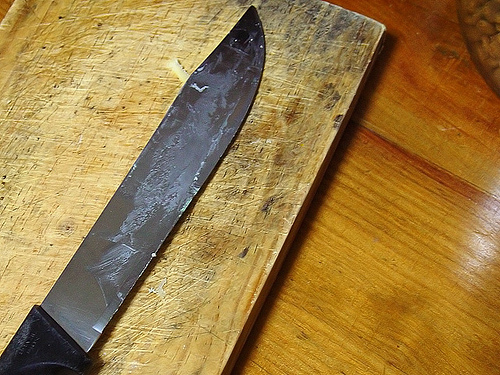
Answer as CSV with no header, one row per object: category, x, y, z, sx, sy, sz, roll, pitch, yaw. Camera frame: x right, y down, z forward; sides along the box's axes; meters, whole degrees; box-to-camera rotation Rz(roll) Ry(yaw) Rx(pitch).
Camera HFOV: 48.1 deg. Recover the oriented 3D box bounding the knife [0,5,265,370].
knife,-0.234,0.030,1.133,0.141,0.074,0.894,37,86,16
